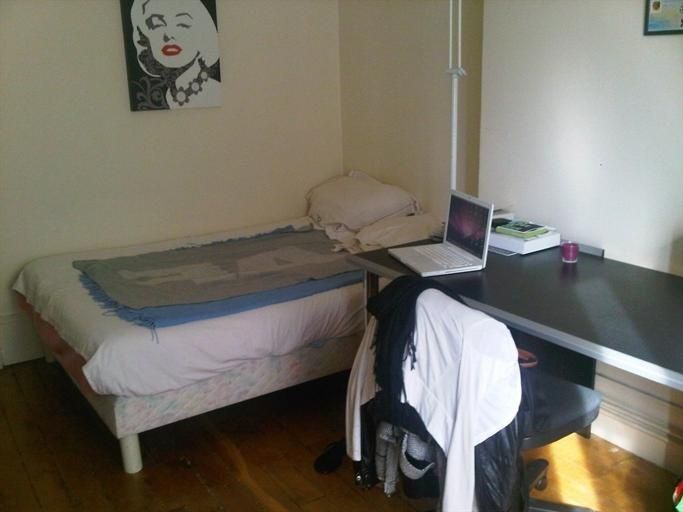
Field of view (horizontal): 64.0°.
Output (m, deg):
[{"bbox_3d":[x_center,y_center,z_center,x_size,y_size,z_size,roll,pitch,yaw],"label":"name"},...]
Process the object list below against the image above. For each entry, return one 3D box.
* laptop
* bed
[{"bbox_3d":[0.460,-0.018,2.458,0.384,0.356,0.461,-6,20,-19],"label":"laptop"},{"bbox_3d":[-0.535,0.486,2.898,1.829,0.522,1.220,-15,31,-28],"label":"bed"}]
